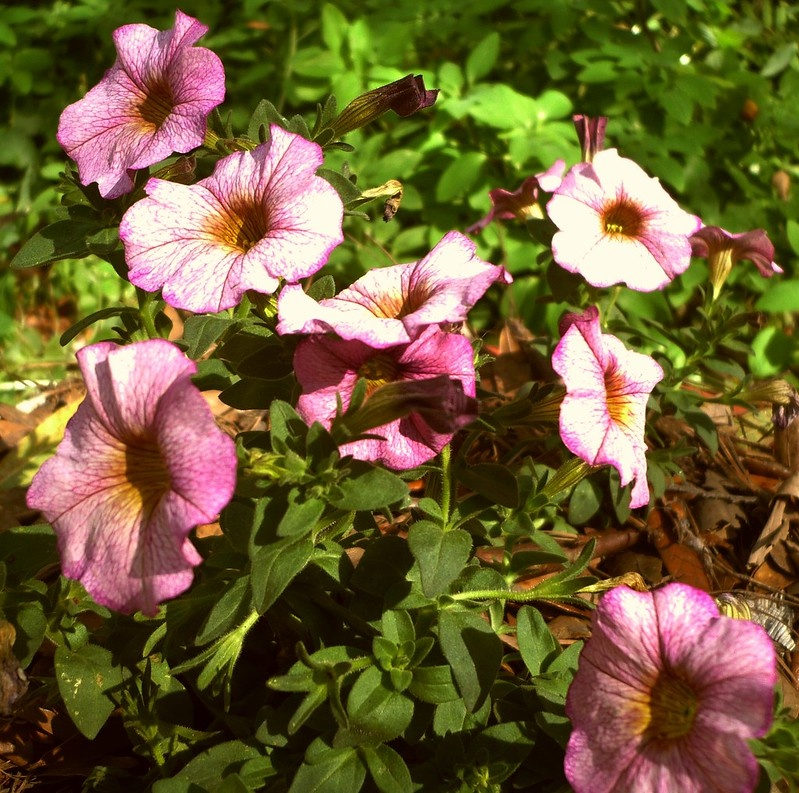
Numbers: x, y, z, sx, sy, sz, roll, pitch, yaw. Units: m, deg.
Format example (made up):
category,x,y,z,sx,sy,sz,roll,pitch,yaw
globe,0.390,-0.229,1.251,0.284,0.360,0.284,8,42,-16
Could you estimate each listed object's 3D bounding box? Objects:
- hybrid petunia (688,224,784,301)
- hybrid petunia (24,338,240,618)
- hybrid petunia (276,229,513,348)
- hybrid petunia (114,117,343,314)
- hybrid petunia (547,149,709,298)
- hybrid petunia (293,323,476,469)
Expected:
category,x,y,z,sx,sy,sz,roll,pitch,yaw
hybrid petunia,0.654,-0.272,1.567,0.211,0.224,0.071,13,85,-2
hybrid petunia,-0.335,0.099,0.958,0.216,0.278,0.304,-21,50,-25
hybrid petunia,-0.007,-0.138,1.043,0.259,0.107,0.262,14,42,8
hybrid petunia,-0.228,-0.238,1.053,0.285,0.175,0.266,-9,45,-16
hybrid petunia,0.335,-0.296,1.382,0.292,0.122,0.272,-15,71,-25
hybrid petunia,-0.016,-0.026,1.061,0.249,0.073,0.222,-3,41,6
